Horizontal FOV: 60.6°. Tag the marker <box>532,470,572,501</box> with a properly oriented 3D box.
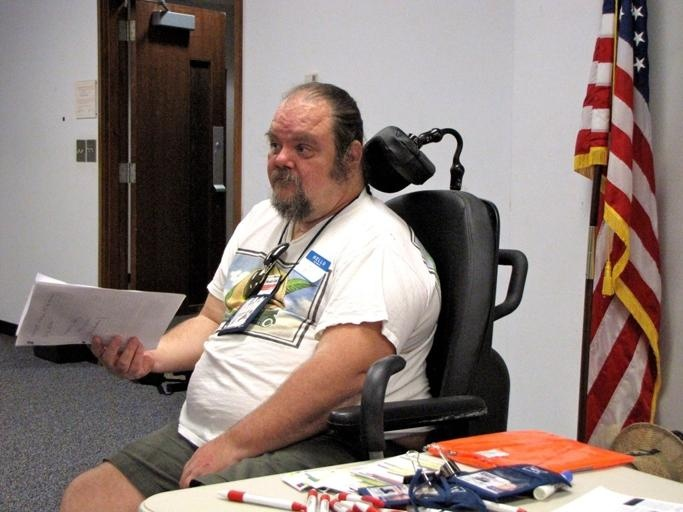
[{"bbox_3d":[0.366,0.385,0.985,0.109,0.028,0.024,-5,10,-36],"label":"marker"}]

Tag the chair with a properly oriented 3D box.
[{"bbox_3d":[0.114,0.115,1.613,0.669,0.921,0.675,4,-2,-11],"label":"chair"}]
